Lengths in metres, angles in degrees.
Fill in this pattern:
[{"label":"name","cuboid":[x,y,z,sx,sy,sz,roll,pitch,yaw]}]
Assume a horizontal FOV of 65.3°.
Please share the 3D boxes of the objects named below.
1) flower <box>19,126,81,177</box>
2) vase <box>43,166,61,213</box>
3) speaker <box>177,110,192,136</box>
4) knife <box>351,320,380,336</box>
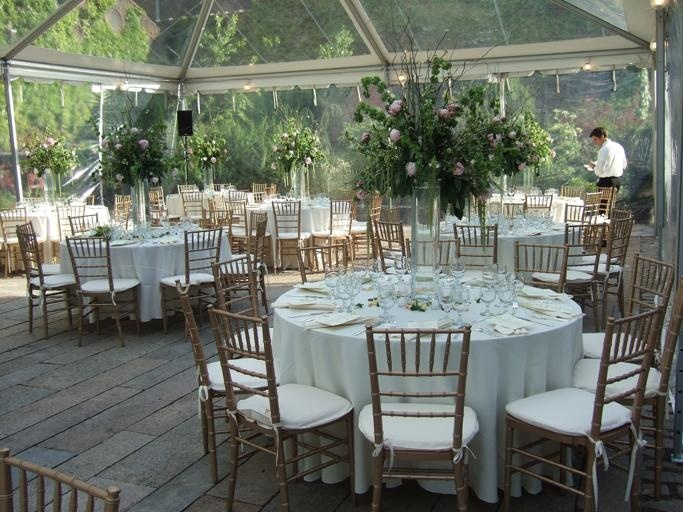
[{"label":"flower","cuboid":[-5.816,-2.058,10.750,1.136,0.993,2.387,-9,15,-31]},{"label":"vase","cuboid":[-5.392,-1.203,10.023,0.232,0.858,0.164,-6,-17,-29]},{"label":"speaker","cuboid":[-3.514,-2.983,11.979,0.235,0.482,0.324,-7,39,-13]},{"label":"knife","cuboid":[0.137,0.426,3.089,0.038,0.041,0.362,45,24,15]}]
